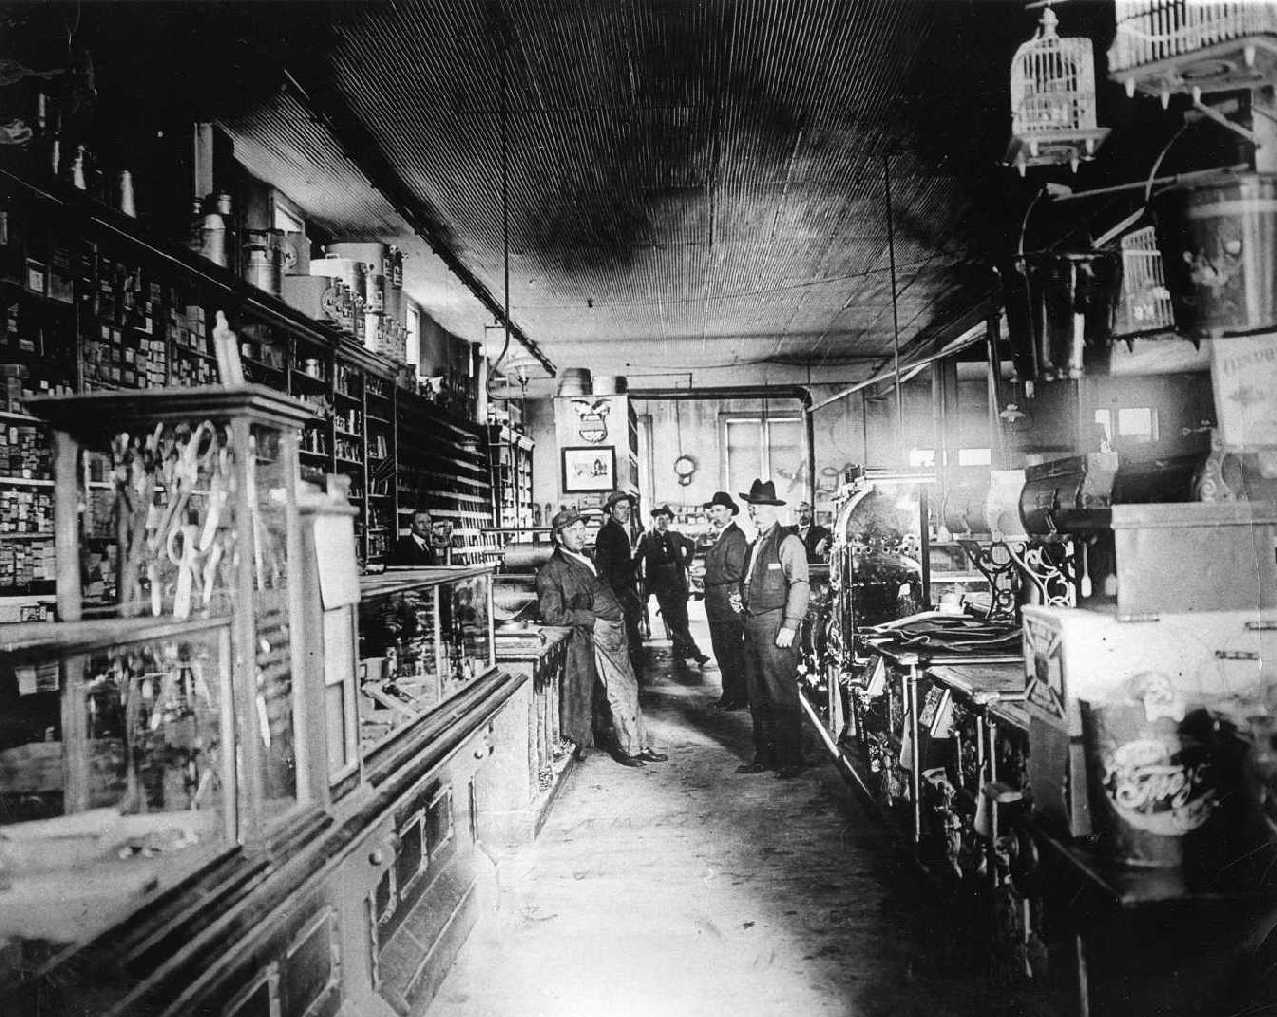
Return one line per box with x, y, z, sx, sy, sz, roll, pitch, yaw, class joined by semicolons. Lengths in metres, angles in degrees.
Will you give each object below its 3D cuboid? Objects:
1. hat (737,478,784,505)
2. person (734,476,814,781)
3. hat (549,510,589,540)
0.894;-0.108;7.819;0.293;0.149;0.362;1;2;8;hat
0.927;0.936;7.310;0.372;1.614;0.537;-3;4;-28;person
-0.498;0.115;7.799;0.235;0.121;0.292;-4;-12;-12;hat
